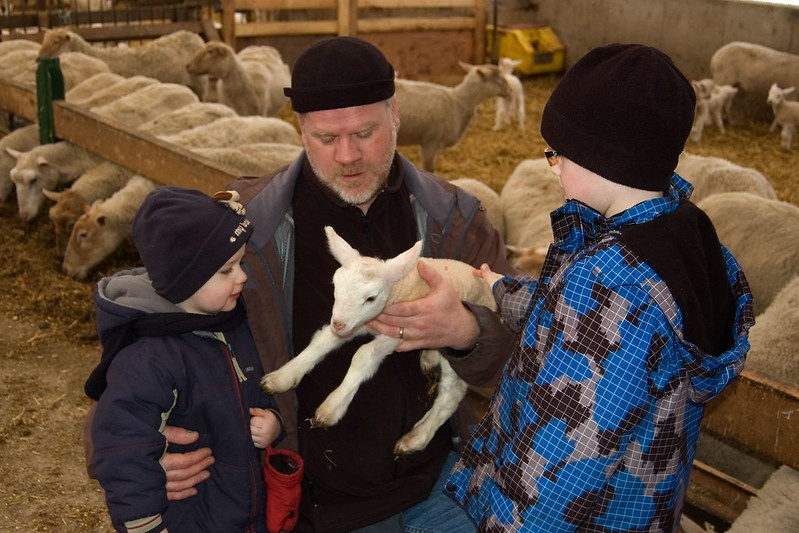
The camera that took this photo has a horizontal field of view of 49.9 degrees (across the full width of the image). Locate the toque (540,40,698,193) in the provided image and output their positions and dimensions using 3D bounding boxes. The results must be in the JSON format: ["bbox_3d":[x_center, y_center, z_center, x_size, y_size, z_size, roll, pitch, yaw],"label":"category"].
[{"bbox_3d":[0.948,-0.647,3.734,0.565,0.513,0.601,19,19,-29],"label":"toque"}]

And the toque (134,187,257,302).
[{"bbox_3d":[-1.012,-0.208,4.169,0.566,0.485,0.428,-36,17,-6],"label":"toque"}]
